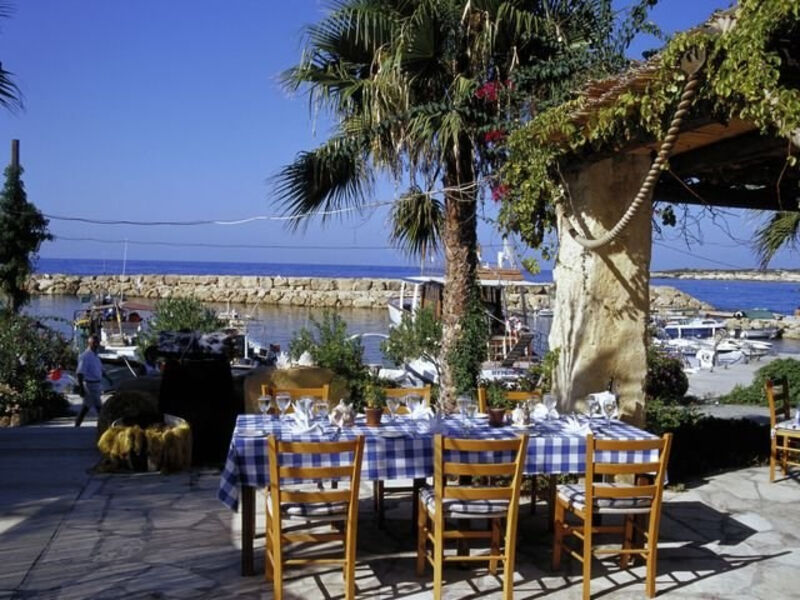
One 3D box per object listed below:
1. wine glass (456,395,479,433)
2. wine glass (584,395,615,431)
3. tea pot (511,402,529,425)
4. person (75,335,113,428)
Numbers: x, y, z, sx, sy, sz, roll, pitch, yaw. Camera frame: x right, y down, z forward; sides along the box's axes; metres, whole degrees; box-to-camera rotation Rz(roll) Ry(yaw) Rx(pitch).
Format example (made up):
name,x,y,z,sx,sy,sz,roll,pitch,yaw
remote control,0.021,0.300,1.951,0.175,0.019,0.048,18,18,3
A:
name,x,y,z,sx,sy,sz,roll,pitch,yaw
wine glass,0.587,1.032,7.721,0.202,0.398,0.229,3,5,39
wine glass,1.845,1.030,7.754,0.241,0.415,0.250,-1,3,8
tea pot,1.113,1.042,7.663,0.117,0.210,0.185,-5,-9,41
person,-4.624,1.188,12.413,0.422,1.353,1.138,-1,-1,-21
